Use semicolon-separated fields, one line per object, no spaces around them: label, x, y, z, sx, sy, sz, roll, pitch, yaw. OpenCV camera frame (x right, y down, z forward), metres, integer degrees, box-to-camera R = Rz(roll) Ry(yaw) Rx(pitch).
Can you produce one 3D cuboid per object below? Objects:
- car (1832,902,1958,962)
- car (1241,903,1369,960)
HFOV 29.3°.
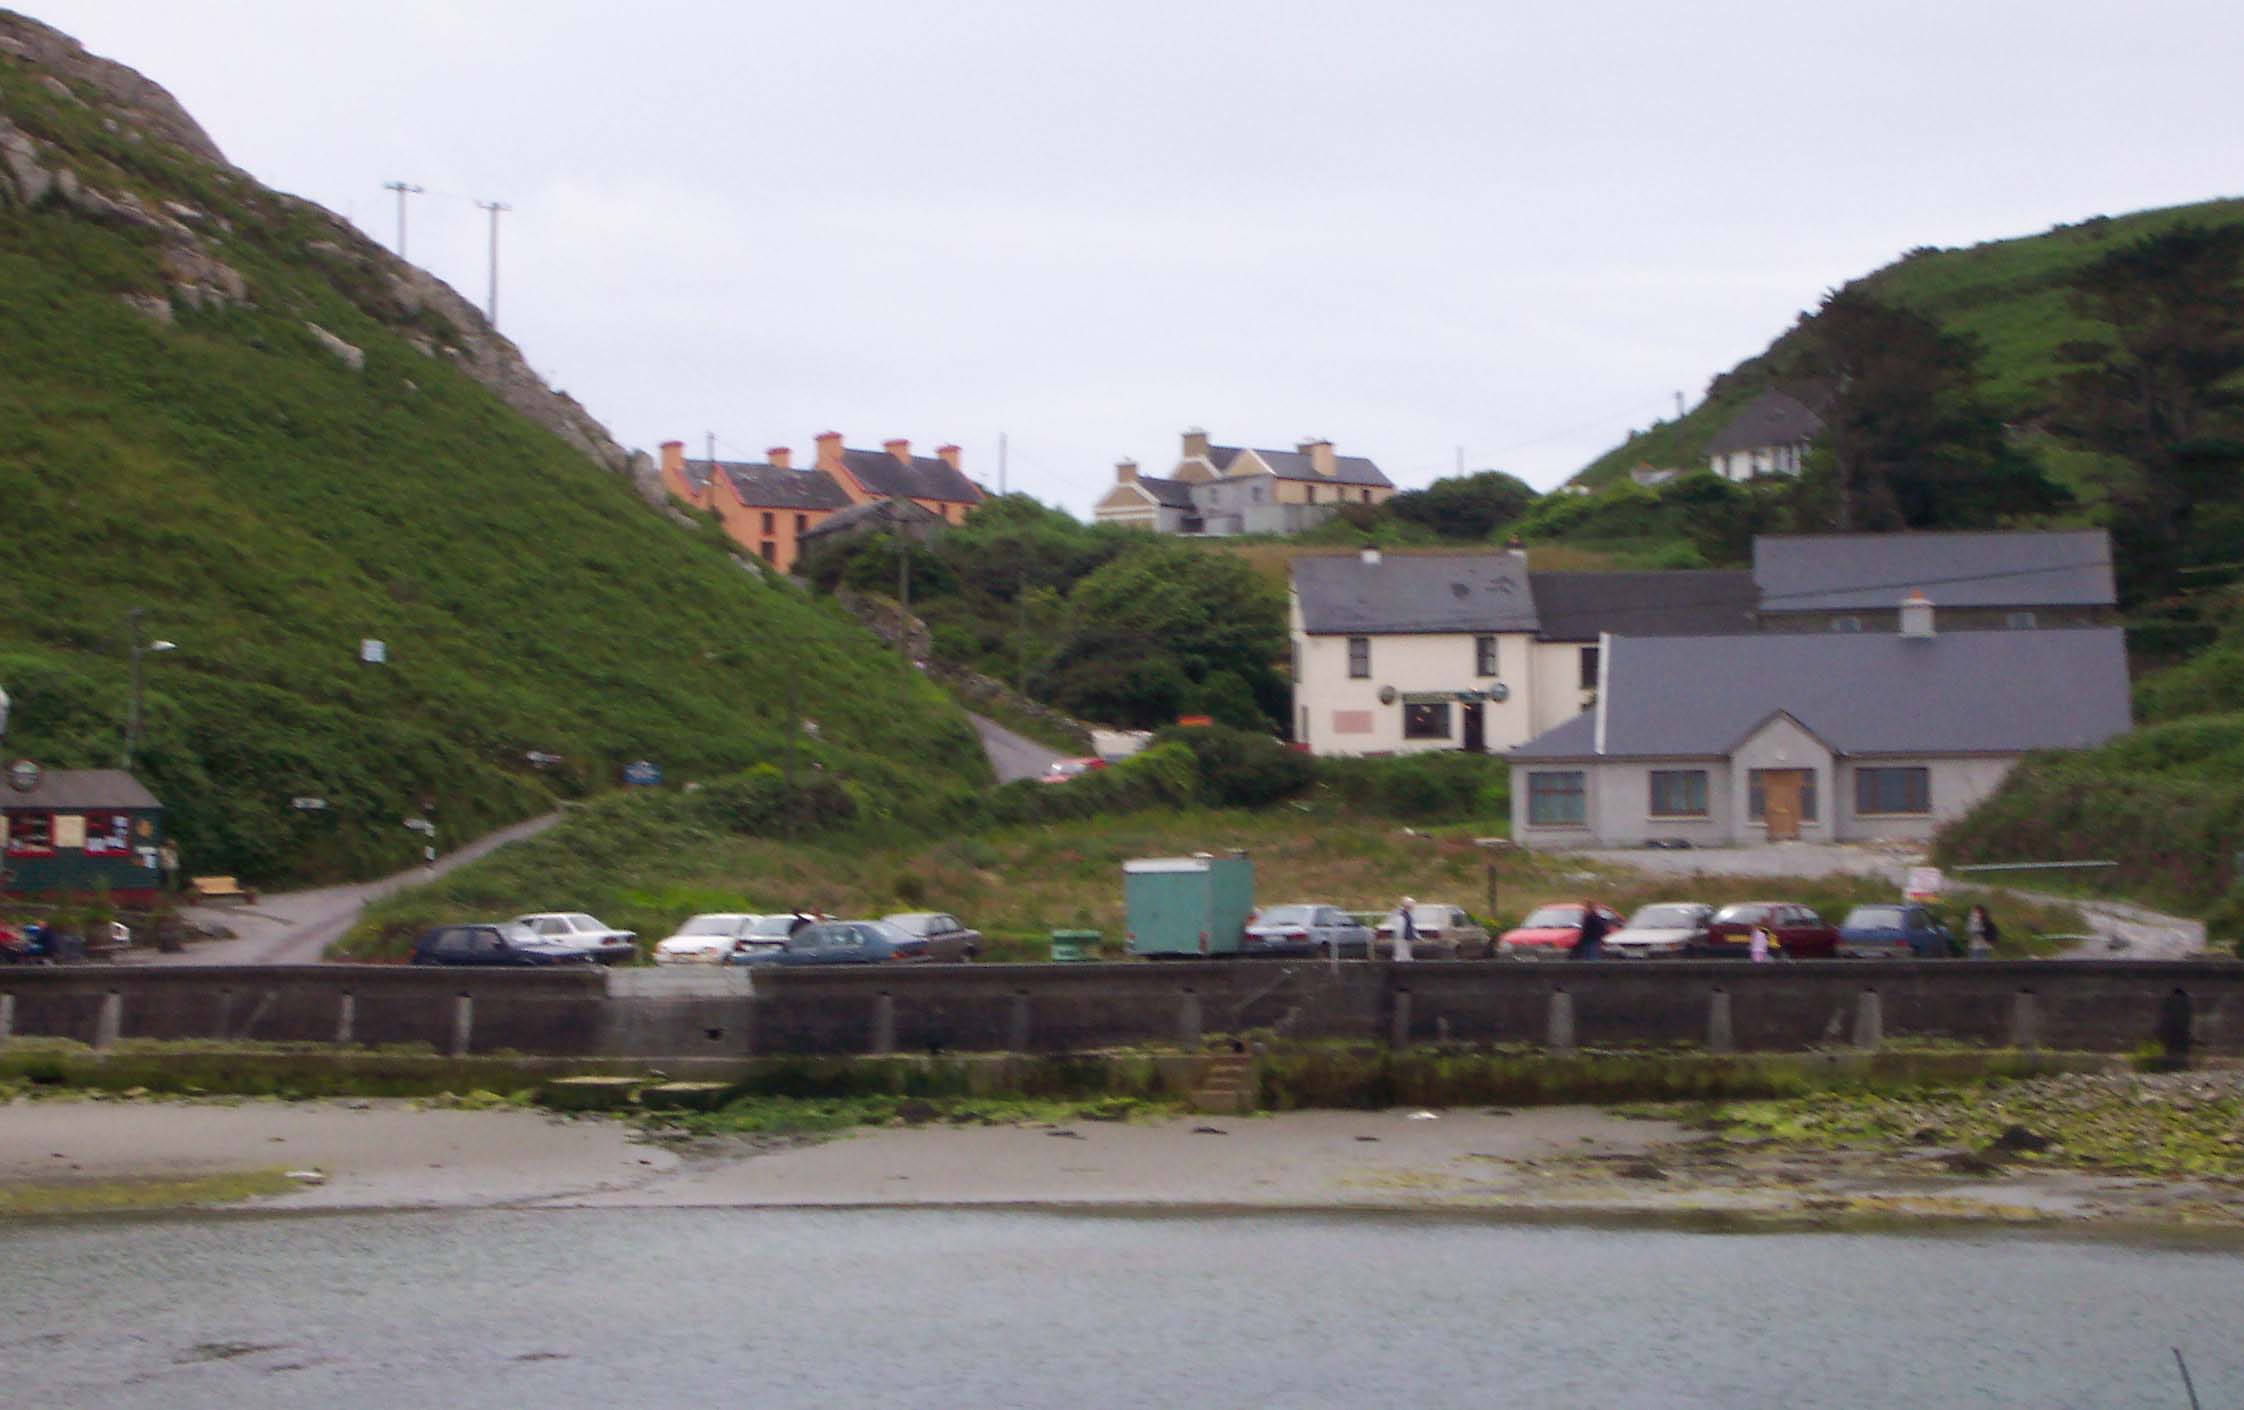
car;29.791;8.512;162.362;4.499;1.635;2.347;1;11;0
car;7.267;8.539;163.361;4.228;0.962;1.982;1;2;2
